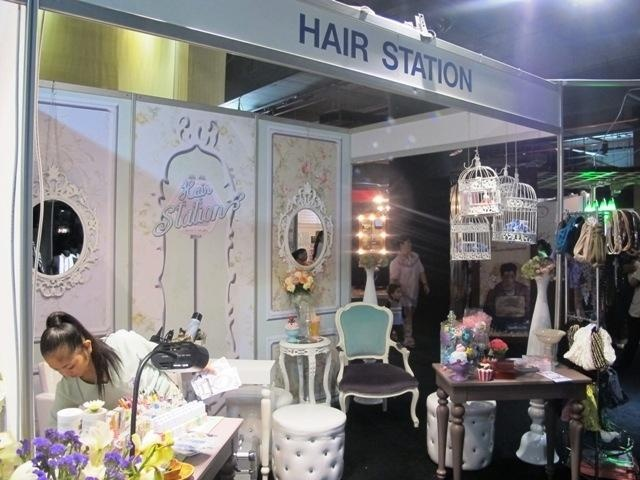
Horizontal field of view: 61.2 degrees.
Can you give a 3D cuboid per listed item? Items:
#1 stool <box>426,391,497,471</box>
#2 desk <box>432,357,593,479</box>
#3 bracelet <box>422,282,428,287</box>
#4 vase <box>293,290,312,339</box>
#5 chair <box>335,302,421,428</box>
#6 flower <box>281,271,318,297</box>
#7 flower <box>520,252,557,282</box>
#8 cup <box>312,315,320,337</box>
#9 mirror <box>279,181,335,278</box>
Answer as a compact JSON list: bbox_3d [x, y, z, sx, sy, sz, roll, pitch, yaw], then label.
[{"bbox_3d":[1.246,1.656,4.834,0.554,0.564,0.601,1,-2,0],"label":"stool"},{"bbox_3d":[1.541,1.690,4.576,1.281,1.207,0.889,1,-8,-5],"label":"desk"},{"bbox_3d":[1.719,0.733,8.810,0.075,0.112,0.111,1,9,6],"label":"bracelet"},{"bbox_3d":[-0.172,0.794,5.837,0.225,0.449,0.179,-1,1,-15],"label":"vase"},{"bbox_3d":[0.580,1.303,5.722,0.817,1.235,1.096,-1,1,1],"label":"chair"},{"bbox_3d":[-0.230,0.481,5.838,0.264,0.282,0.281,-7,-30,5],"label":"flower"},{"bbox_3d":[2.003,0.243,4.961,0.255,0.212,0.176,-16,-13,32],"label":"flower"},{"bbox_3d":[-0.055,0.928,5.769,0.101,0.200,0.166,-1,1,-4],"label":"cup"},{"bbox_3d":[-0.172,-0.120,5.997,0.063,1.445,1.010,5,5,44],"label":"mirror"}]
